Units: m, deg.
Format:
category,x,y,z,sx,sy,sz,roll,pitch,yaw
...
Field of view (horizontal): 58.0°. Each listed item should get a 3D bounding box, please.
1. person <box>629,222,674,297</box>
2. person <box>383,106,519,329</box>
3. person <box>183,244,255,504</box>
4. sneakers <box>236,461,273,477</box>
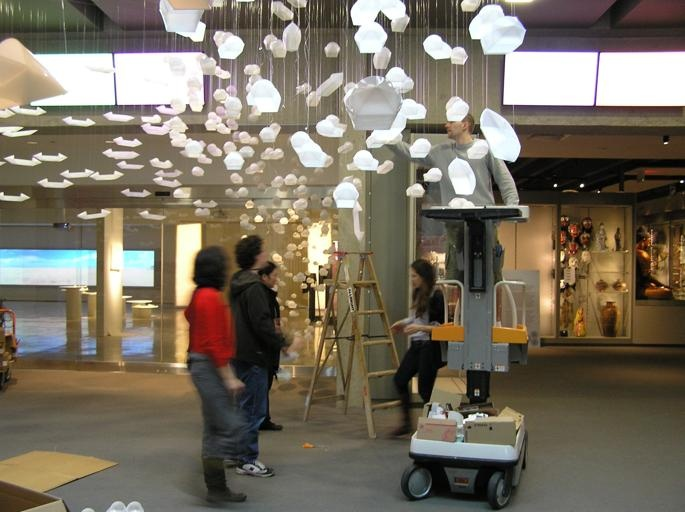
category,x,y,z,sx,sy,sz,roll,pitch,yaw
person,6.563,0.141,13.022,0.697,1.443,1.083,2,5,26
person,1.206,-0.570,6.116,1.130,1.697,0.952,3,6,33
person,-1.064,1.012,5.112,0.476,2.184,0.307,0,5,-7
sneakers,-0.825,1.992,5.850,0.369,0.175,0.135,2,-2,6
